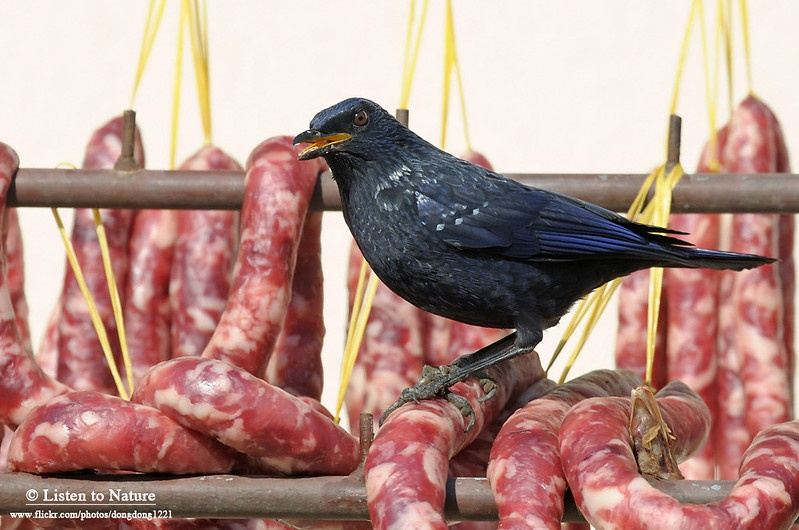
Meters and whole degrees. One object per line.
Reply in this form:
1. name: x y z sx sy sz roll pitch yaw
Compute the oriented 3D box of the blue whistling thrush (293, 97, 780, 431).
1. blue whistling thrush: 0.345 -0.031 3.634 1.249 0.704 0.379 0 -1 0
